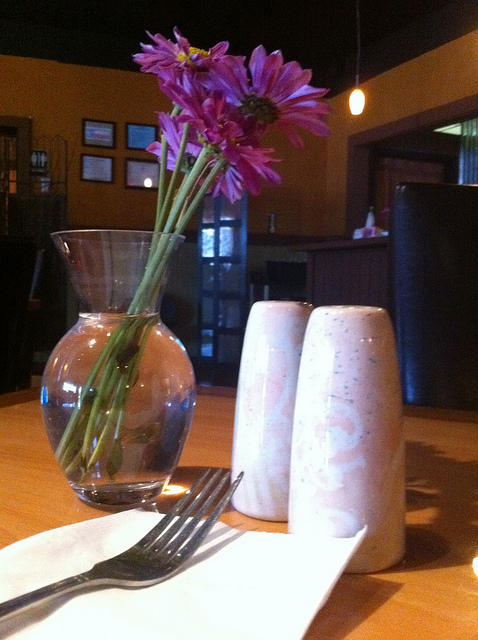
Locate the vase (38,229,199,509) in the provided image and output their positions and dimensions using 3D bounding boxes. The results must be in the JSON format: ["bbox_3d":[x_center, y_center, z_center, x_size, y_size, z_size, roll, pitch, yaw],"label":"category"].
[{"bbox_3d":[-0.104,0.032,0.449,0.133,0.210,0.128,6,8,0],"label":"vase"}]

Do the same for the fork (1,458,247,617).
[{"bbox_3d":[-0.036,0.105,0.337,0.035,0.031,0.216,6,10,34],"label":"fork"}]
